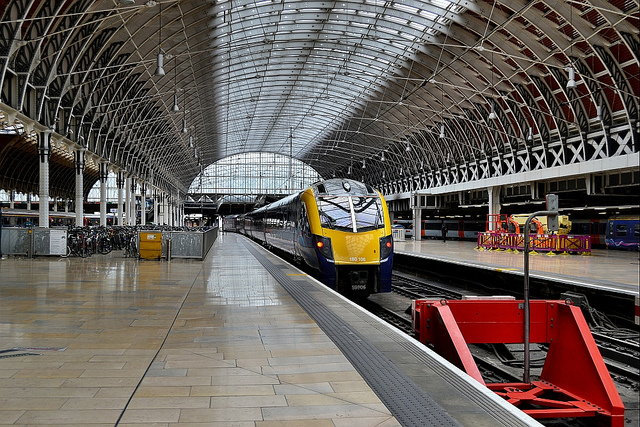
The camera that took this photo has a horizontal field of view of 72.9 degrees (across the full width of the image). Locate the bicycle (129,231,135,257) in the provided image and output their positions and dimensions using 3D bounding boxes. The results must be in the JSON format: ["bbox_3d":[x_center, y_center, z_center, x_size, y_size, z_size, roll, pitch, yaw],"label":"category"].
[{"bbox_3d":[-11.755,1.976,26.953,0.287,1.353,1.190,1,1,-24],"label":"bicycle"}]

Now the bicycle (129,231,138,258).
[{"bbox_3d":[-11.411,1.894,26.596,0.331,1.275,0.877,2,-2,-26],"label":"bicycle"}]

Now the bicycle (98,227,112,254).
[{"bbox_3d":[-14.942,2.056,30.005,0.710,1.354,0.825,2,1,2],"label":"bicycle"}]

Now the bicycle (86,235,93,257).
[{"bbox_3d":[-14.881,2.100,27.850,0.302,1.218,1.266,1,1,-24],"label":"bicycle"}]

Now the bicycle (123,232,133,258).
[{"bbox_3d":[-12.262,2.015,27.630,0.613,1.467,0.360,-5,-24,6],"label":"bicycle"}]

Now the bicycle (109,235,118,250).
[{"bbox_3d":[-15.606,2.176,32.554,0.149,1.421,0.548,-6,-33,-34],"label":"bicycle"}]
